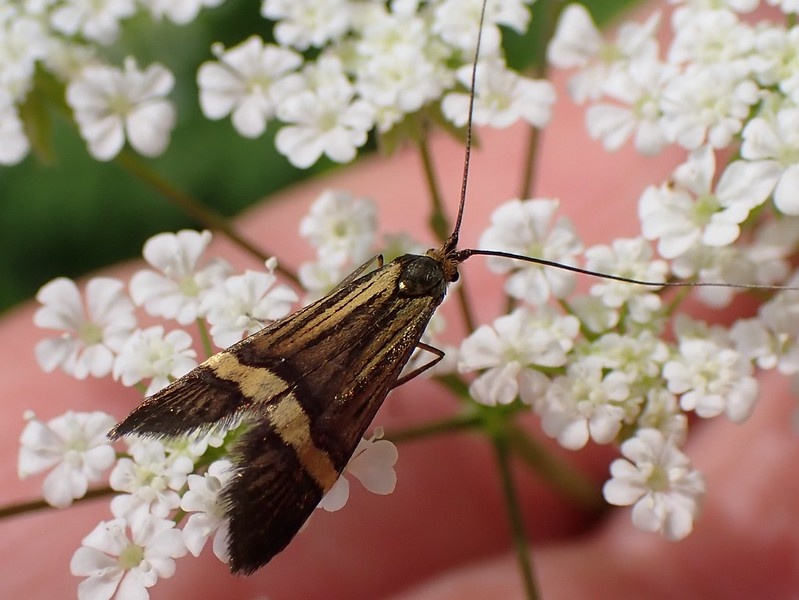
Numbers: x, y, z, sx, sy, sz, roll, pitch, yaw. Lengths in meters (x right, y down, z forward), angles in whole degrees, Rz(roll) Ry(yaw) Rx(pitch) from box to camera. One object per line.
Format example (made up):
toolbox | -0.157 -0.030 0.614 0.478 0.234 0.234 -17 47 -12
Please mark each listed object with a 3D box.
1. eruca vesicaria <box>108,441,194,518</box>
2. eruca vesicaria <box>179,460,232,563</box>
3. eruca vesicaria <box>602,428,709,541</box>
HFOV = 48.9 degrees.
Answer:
eruca vesicaria | -0.774 0.552 2.720 0.218 0.079 0.256 -6 -100 9
eruca vesicaria | -0.575 0.626 2.605 0.248 0.063 0.243 -51 -123 25
eruca vesicaria | 0.778 0.562 2.669 0.297 0.142 0.257 41 -78 -12
